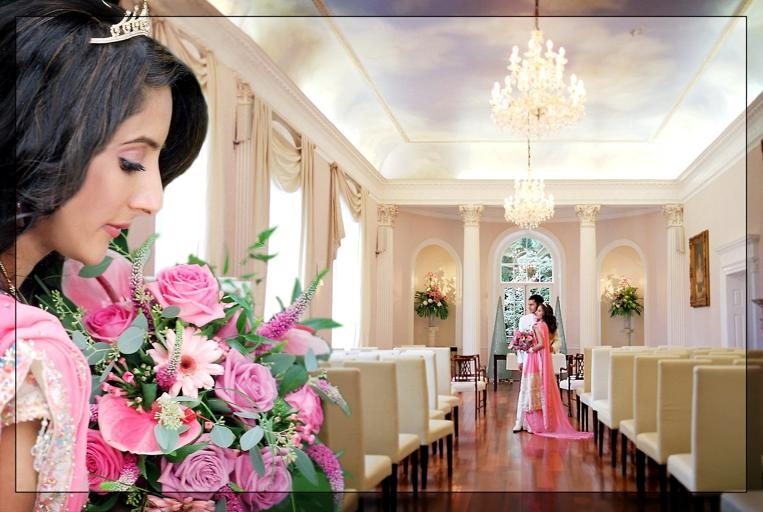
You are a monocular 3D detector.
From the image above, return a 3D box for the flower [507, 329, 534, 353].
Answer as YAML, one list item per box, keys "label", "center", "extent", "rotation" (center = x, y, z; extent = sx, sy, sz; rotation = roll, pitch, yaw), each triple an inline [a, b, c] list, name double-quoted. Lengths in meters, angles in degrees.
- label: "flower"
  center: [1.542, 0.905, 5.934]
  extent: [0.230, 0.236, 0.239]
  rotation: [2, -26, 24]

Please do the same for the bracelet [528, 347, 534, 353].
- label: "bracelet"
  center: [1.636, 1.014, 5.893]
  extent: [0.045, 0.060, 0.054]
  rotation: [7, -19, 1]

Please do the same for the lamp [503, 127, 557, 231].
- label: "lamp"
  center: [2.018, -0.886, 7.341]
  extent: [0.639, 0.738, 1.550]
  rotation: [-3, -14, 13]

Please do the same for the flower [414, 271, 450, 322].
- label: "flower"
  center: [1.119, 0.882, 12.234]
  extent: [0.966, 1.290, 0.959]
  rotation: [-1, 3, -2]

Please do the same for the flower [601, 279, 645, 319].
- label: "flower"
  center: [5.278, 0.939, 11.684]
  extent: [0.584, 0.669, 0.547]
  rotation: [1, -20, 21]
